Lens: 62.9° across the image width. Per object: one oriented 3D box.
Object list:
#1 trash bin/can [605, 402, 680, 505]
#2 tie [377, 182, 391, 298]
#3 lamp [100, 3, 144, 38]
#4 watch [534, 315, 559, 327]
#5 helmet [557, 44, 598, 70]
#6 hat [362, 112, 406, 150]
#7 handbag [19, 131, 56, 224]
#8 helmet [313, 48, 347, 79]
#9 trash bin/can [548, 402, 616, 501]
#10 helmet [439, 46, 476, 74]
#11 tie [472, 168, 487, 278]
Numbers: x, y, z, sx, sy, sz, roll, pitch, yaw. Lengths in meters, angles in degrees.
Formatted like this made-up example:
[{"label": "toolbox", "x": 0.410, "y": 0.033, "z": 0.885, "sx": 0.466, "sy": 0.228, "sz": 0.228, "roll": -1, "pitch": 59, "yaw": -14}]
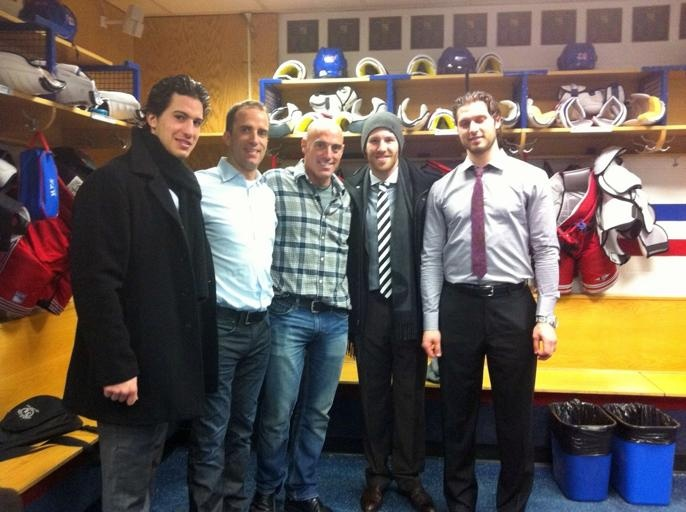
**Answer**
[{"label": "trash bin/can", "x": 1.752, "y": 1.148, "z": 3.281, "sx": 0.379, "sy": 0.448, "sz": 0.386, "roll": 3, "pitch": 10, "yaw": 21}, {"label": "tie", "x": 0.229, "y": -0.085, "z": 3.104, "sx": 0.075, "sy": 0.628, "sz": 0.155, "roll": 0, "pitch": 9, "yaw": 3}, {"label": "lamp", "x": -1.650, "y": -1.763, "z": 4.217, "sx": 0.340, "sy": 0.257, "sz": 0.200, "roll": 5, "pitch": 14, "yaw": 2}, {"label": "watch", "x": 1.059, "y": 0.332, "z": 2.899, "sx": 0.088, "sy": 0.057, "sz": 0.087, "roll": 12, "pitch": -7, "yaw": -31}, {"label": "helmet", "x": 1.670, "y": -1.393, "z": 3.929, "sx": 0.283, "sy": 0.204, "sz": 0.241, "roll": 1, "pitch": 9, "yaw": 9}, {"label": "hat", "x": 0.222, "y": -0.720, "z": 3.172, "sx": 0.173, "sy": 0.188, "sz": 0.238, "roll": 2, "pitch": 14, "yaw": 6}, {"label": "handbag", "x": -1.664, "y": -0.437, "z": 3.033, "sx": 0.189, "sy": 0.470, "sz": 0.251, "roll": -9, "pitch": 12, "yaw": -42}, {"label": "helmet", "x": -0.093, "y": -1.372, "z": 3.994, "sx": 0.246, "sy": 0.221, "sz": 0.186, "roll": -11, "pitch": 17, "yaw": -43}, {"label": "trash bin/can", "x": 1.445, "y": 1.175, "z": 3.389, "sx": 0.291, "sy": 0.476, "sz": 0.458, "roll": -1, "pitch": 5, "yaw": 8}, {"label": "helmet", "x": 0.787, "y": -1.344, "z": 3.867, "sx": 0.174, "sy": 0.080, "sz": 0.241, "roll": 5, "pitch": 4, "yaw": 3}, {"label": "tie", "x": 0.711, "y": -0.178, "z": 2.890, "sx": 0.037, "sy": 0.625, "sz": 0.067, "roll": 2, "pitch": 10, "yaw": 34}]
